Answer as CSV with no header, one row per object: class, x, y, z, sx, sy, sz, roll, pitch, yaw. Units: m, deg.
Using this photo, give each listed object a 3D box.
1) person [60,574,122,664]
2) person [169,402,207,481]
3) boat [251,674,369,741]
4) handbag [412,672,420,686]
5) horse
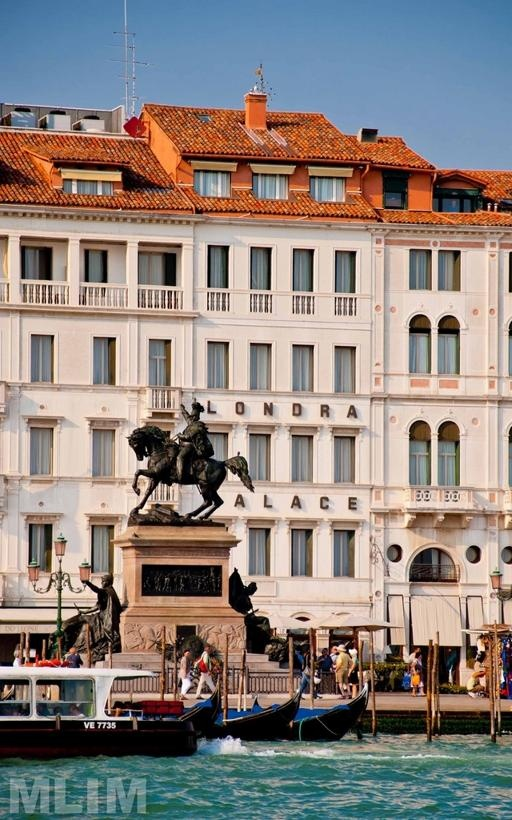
person,-4.050,5.444,59.670,0.941,2.491,1.266,-4,-4,29
person,-1.639,0.754,59.682,0.653,2.126,0.772,1,-6,23
boat,1.602,7.026,54.476,1.024,1.658,3.836,-10,-14,42
handbag,4.556,7.684,67.085,0.260,0.323,0.499,3,0,1
horse,-1.717,1.553,60.060,3.174,3.017,0.858,-1,22,-8
